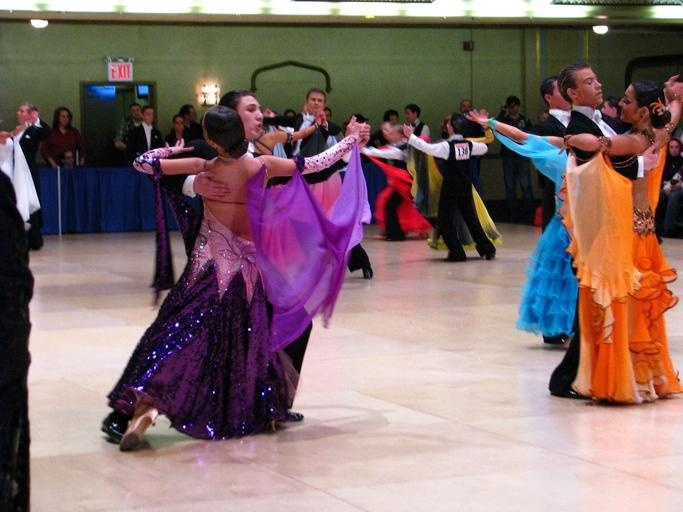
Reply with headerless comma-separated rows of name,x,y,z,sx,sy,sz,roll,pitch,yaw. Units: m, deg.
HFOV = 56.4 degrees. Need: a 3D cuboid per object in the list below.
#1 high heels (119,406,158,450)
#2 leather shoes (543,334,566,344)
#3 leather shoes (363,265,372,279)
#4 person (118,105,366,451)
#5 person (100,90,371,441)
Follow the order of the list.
high heels,-0.961,0.805,2.991,0.191,0.070,0.083,-52,7,-17
leather shoes,1.608,0.631,4.808,0.100,0.045,0.111,1,2,8
leather shoes,0.318,0.182,7.780,0.154,0.125,0.223,-4,-7,1
person,-0.485,0.112,3.217,1.387,1.515,0.525,-6,12,-23
person,-0.481,0.042,3.380,1.453,1.669,0.930,-5,14,-28
